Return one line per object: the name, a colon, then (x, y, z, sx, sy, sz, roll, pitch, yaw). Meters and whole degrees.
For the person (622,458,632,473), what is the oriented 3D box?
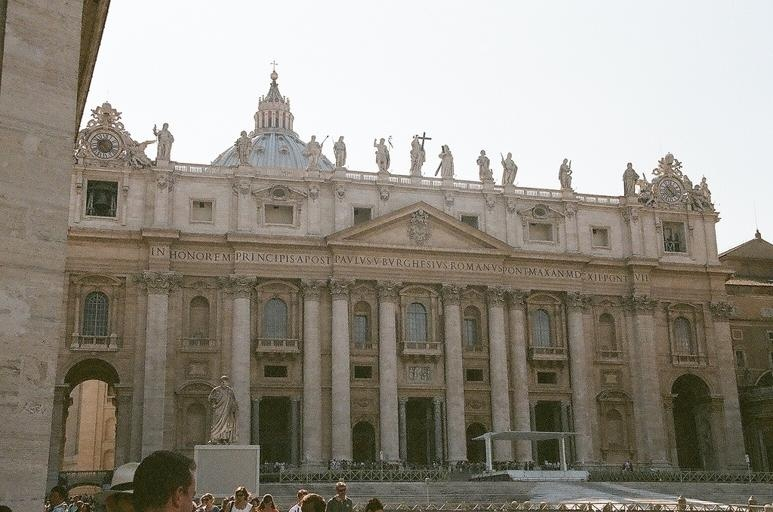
person: (16.774, 14.627, 61.763, 0.791, 0.999, 0.430, 7, -32, -3)

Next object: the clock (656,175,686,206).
clock: (21.989, -5.043, 68.592, 2.435, 2.173, 0.528, -4, -6, -13)
